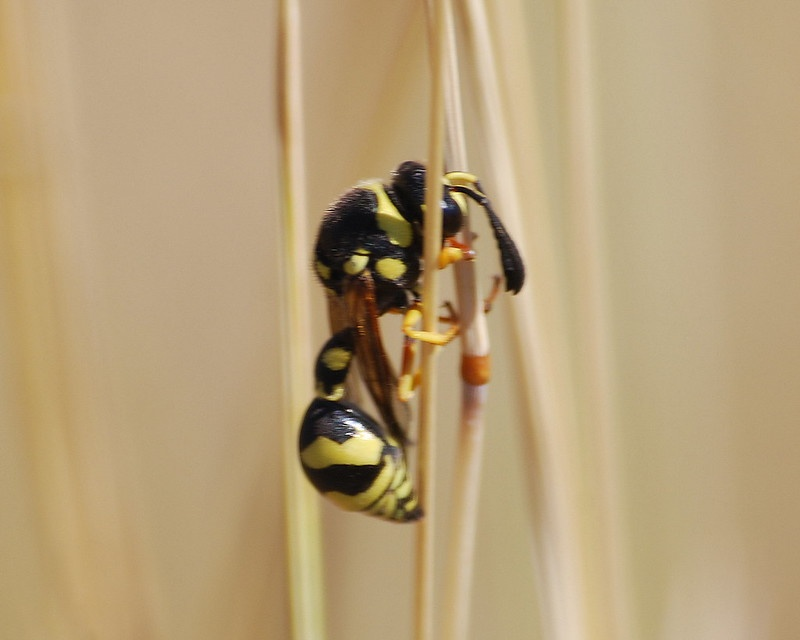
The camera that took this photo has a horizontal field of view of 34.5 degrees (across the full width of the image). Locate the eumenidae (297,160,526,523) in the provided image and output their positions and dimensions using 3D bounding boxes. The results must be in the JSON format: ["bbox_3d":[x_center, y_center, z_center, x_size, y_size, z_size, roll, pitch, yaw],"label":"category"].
[{"bbox_3d":[-0.018,0.020,1.090,0.106,0.271,0.274,3,10,-37],"label":"eumenidae"}]
